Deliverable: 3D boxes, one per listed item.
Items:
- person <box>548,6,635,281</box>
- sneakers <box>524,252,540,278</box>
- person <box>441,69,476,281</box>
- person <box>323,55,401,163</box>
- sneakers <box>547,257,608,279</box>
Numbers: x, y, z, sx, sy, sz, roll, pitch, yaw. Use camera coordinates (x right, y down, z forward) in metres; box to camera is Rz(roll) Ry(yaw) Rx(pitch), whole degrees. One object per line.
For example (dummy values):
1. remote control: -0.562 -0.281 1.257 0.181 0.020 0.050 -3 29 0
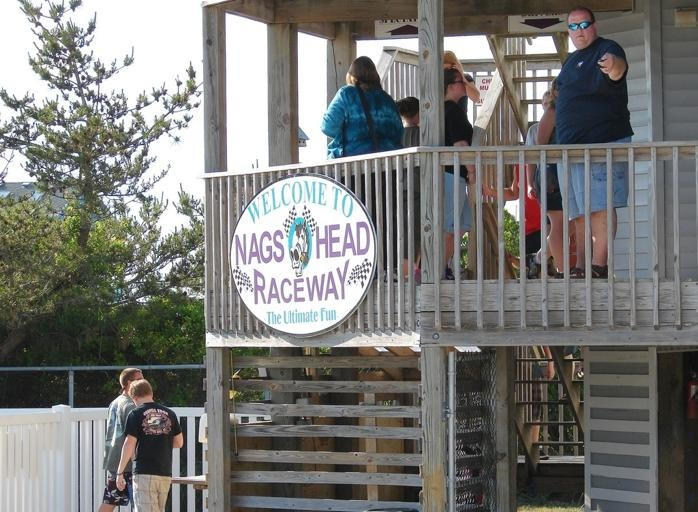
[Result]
1. person: 3.201 -1.445 20.795 1.020 3.619 0.946 -3 -6 14
2. sneakers: 2.634 0.187 22.666 0.166 0.283 0.413 11 -27 1
3. person: 1.453 -1.136 21.201 0.414 3.037 1.168 -2 -6 6
4. person: 0.150 -2.000 21.332 1.105 1.441 0.507 -2 -6 0
5. sneakers: 3.090 0.199 20.680 0.554 0.269 0.229 4 0 -1
